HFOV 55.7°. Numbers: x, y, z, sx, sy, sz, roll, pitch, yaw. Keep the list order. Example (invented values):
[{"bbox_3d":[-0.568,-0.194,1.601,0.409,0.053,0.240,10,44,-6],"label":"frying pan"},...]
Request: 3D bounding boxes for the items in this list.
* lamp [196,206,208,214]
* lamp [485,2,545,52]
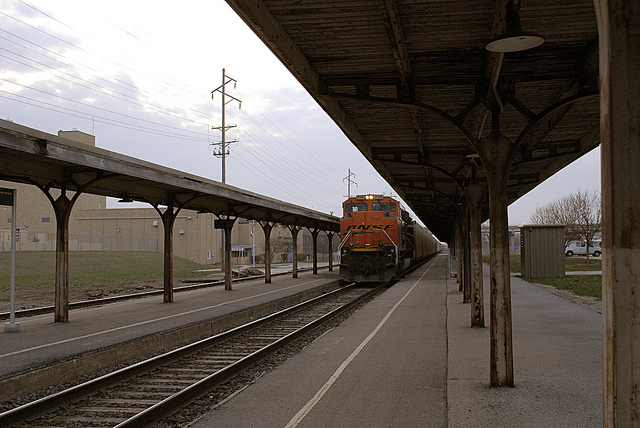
[{"bbox_3d":[-5.108,-0.131,26.167,0.467,0.303,0.473,3,-4,-14],"label":"lamp"},{"bbox_3d":[2.801,-2.580,8.846,0.690,0.717,0.730,-1,-6,-3],"label":"lamp"}]
